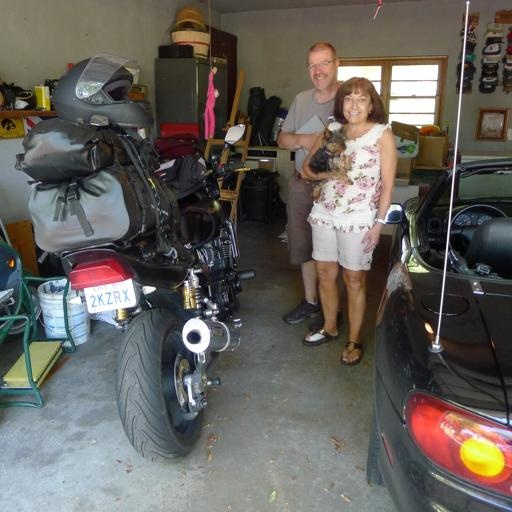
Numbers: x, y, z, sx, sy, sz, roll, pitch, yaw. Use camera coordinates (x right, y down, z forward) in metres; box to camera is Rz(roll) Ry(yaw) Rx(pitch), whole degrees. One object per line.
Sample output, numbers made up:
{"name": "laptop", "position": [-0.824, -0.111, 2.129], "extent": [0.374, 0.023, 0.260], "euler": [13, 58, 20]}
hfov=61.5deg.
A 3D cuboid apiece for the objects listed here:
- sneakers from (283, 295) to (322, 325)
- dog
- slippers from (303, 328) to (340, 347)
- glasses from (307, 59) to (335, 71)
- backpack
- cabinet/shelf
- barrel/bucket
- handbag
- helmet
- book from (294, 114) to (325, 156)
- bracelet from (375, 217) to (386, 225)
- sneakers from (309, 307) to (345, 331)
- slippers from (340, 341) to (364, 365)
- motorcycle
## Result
{"name": "sneakers", "position": [0.317, 0.413, 3.110], "extent": [0.341, 0.161, 0.119], "euler": [-18, 53, -17]}
{"name": "dog", "position": [0.374, -0.502, 2.331], "extent": [0.262, 0.401, 0.140], "euler": [-6, 6, 3]}
{"name": "slippers", "position": [0.409, 0.516, 2.741], "extent": [0.182, 0.070, 0.100], "euler": [-2, 19, -3]}
{"name": "glasses", "position": [0.393, -1.133, 2.571], "extent": [0.176, 0.086, 0.113], "euler": [-1, 20, 4]}
{"name": "backpack", "position": [-0.567, -0.314, 1.431], "extent": [0.345, 0.164, 0.422], "euler": [-2, 7, 15]}
{"name": "cabinet/shelf", "position": [-0.982, -2.153, 5.946], "extent": [1.110, 1.037, 0.393], "euler": [6, 22, 9]}
{"name": "barrel/bucket", "position": [-1.288, 0.348, 2.854], "extent": [0.307, 0.298, 0.434], "euler": [-31, 51, 3]}
{"name": "handbag", "position": [-0.547, -0.200, 1.502], "extent": [0.392, 0.199, 0.557], "euler": [-7, 15, 4]}
{"name": "helmet", "position": [-0.584, -0.637, 1.716], "extent": [0.422, 0.258, 0.292], "euler": [5, 25, 3]}
{"name": "book", "position": [0.335, -0.790, 2.766], "extent": [0.204, 0.200, 0.049], "euler": [-38, -27, 29]}
{"name": "bracelet", "position": [0.634, -0.178, 2.219], "extent": [0.040, 0.024, 0.039], "euler": [7, 4, -12]}
{"name": "sneakers", "position": [0.487, 0.436, 2.993], "extent": [0.103, 0.125, 0.283], "euler": [4, 9, 32]}
{"name": "slippers", "position": [0.552, 0.581, 2.533], "extent": [0.073, 0.070, 0.179], "euler": [2, 24, 17]}
{"name": "motorcycle", "position": [0.072, 0.055, 2.120], "extent": [0.762, 1.115, 1.691], "euler": [-6, 22, 13]}
